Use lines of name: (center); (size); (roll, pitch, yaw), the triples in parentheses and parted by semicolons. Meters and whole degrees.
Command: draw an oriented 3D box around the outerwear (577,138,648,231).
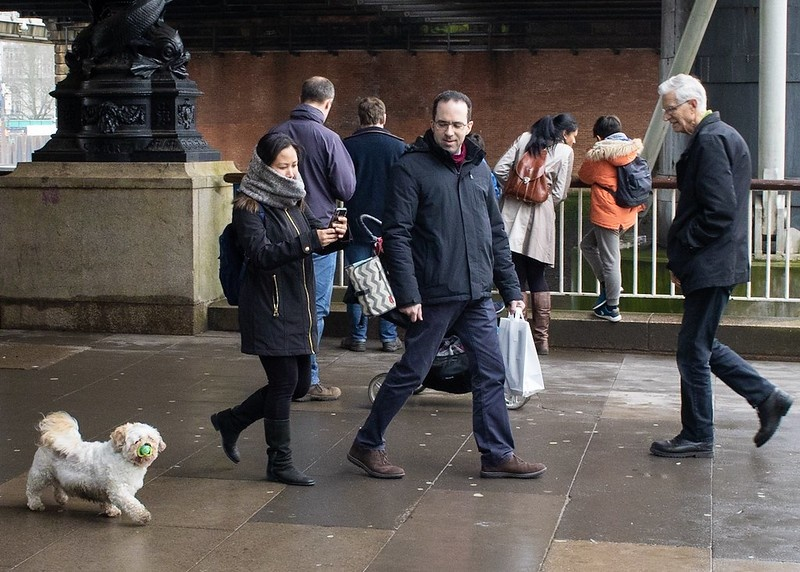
outerwear: (1.981, -1.005, 10.855); (0.820, 1.047, 1.091); (6, 9, 21)

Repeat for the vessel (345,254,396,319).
vessel: (-0.196, 0.003, 7.208); (0.322, 0.379, 0.145); (-20, -3, 25)

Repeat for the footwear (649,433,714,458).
footwear: (2.031, 1.142, 7.769); (0.381, 0.153, 0.173); (3, -6, 8)

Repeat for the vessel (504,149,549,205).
vessel: (1.231, -1.052, 10.103); (0.428, 0.494, 0.278); (17, 24, 23)

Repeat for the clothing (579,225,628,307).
clothing: (2.017, -0.334, 10.633); (0.360, 1.032, 0.392); (-17, 28, -26)

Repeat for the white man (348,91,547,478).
white man: (0.319, -0.011, 7.365); (1.306, 2.579, 0.788); (-1, 15, -2)

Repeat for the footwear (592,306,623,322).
footwear: (2.014, 0.266, 10.441); (0.118, 0.125, 0.294); (-6, 13, -32)

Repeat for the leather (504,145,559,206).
leather: (1.228, -1.056, 10.099); (0.422, 0.485, 0.272); (19, 25, 28)

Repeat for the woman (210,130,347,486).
woman: (-0.785, 0.154, 7.192); (0.879, 2.314, 0.526); (7, 17, 26)

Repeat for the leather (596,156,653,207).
leather: (2.197, -1.041, 10.456); (0.396, 0.460, 0.514); (-8, 23, -19)

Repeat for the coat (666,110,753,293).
coat: (2.229, -0.543, 7.806); (0.653, 1.311, 0.752); (1, 7, 21)
